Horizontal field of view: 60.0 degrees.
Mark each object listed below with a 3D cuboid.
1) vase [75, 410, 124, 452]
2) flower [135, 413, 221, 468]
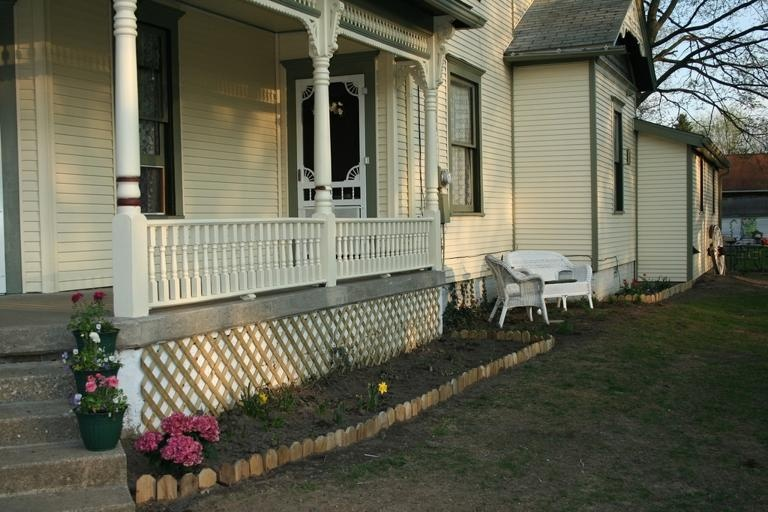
[{"bbox_3d":[-2.530,1.557,5.918,0.346,0.264,0.353,0,-8,0],"label":"vase"},{"bbox_3d":[-1.911,1.684,6.181,0.634,0.455,0.516,-1,7,17],"label":"flower"}]
